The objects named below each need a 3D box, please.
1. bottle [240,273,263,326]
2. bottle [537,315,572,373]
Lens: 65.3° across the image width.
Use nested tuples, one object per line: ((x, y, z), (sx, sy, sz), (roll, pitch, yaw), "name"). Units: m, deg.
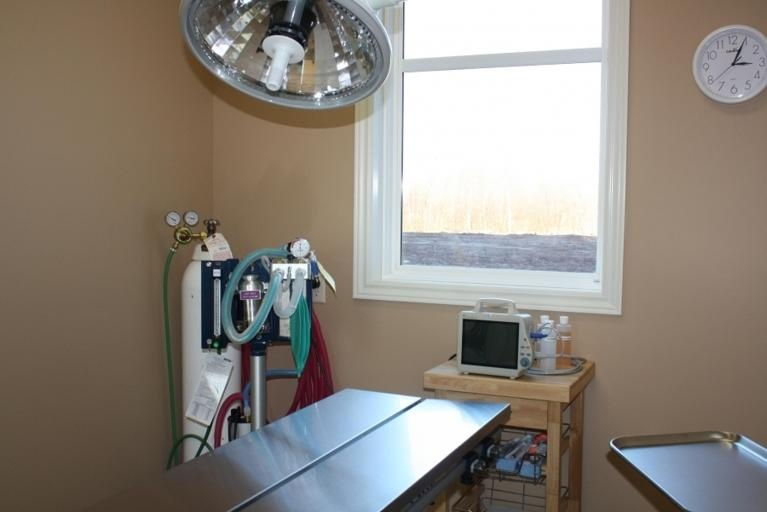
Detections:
((-0.698, 0.237, 3.198), (0.132, 0.277, 0.107), (-4, 16, -26), "bottle")
((0.910, 0.481, 3.208), (0.246, 0.364, 0.129), (2, -4, -33), "bottle")
